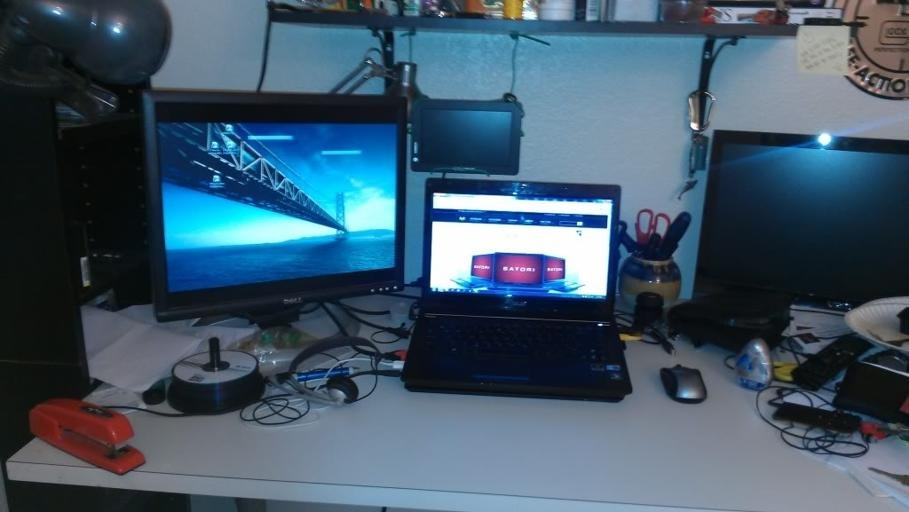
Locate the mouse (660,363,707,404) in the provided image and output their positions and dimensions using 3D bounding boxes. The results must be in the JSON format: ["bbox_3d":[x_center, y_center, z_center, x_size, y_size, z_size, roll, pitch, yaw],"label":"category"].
[{"bbox_3d":[0.619,0.329,1.717,0.118,0.041,0.137,-1,30,4],"label":"mouse"}]

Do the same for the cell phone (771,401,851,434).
[{"bbox_3d":[0.901,0.412,1.621,0.221,0.029,0.164,1,13,7],"label":"cell phone"}]

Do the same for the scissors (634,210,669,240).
[{"bbox_3d":[0.636,-0.103,2.071,0.132,0.130,0.009,6,43,12],"label":"scissors"}]

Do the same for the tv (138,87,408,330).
[{"bbox_3d":[-0.494,-0.128,1.755,0.733,0.592,0.218,-1,4,-34],"label":"tv"}]

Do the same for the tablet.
[{"bbox_3d":[0.036,-0.374,2.003,0.342,0.230,0.045,-2,17,-3],"label":"tablet"}]
